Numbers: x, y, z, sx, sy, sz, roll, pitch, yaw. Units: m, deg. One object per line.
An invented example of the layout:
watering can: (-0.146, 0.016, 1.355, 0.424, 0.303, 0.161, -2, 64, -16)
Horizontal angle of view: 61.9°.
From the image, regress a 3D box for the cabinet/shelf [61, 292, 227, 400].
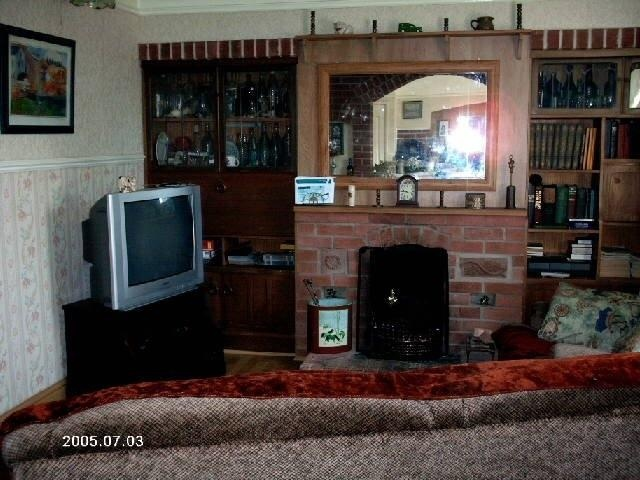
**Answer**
cabinet/shelf: (-1.268, 0.653, 3.654, 0.821, 0.456, 0.410, 2, 5, -4)

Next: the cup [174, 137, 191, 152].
cup: (-1.152, -0.807, 4.541, 0.128, 0.117, 0.127, 5, 3, 0)

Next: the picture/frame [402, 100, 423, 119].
picture/frame: (0.729, -1.007, 4.126, 0.173, 0.122, 0.017, 1, 5, 7)

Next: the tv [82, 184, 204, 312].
tv: (-1.322, 0.035, 3.781, 0.599, 0.725, 0.909, 3, 9, 21)

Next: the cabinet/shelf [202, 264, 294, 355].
cabinet/shelf: (-0.653, 0.647, 4.517, 0.949, 0.729, 0.301, 8, -25, -32)

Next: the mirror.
mirror: (0.738, -0.909, 4.112, 1.294, 0.728, 0.053, 1, 3, 6)

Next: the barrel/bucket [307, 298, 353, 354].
barrel/bucket: (0.034, 0.649, 3.929, 0.345, 0.307, 0.318, 1, -9, 0)

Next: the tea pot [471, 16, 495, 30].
tea pot: (1.197, -1.589, 3.947, 0.120, 0.111, 0.184, -24, 29, -39)

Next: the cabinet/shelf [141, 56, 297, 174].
cabinet/shelf: (-0.716, -0.997, 4.613, 1.568, 1.070, 0.499, 6, 11, 27)

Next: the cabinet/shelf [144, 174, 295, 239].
cabinet/shelf: (-0.758, -0.265, 4.683, 1.369, 0.521, 0.372, 1, 0, 22)

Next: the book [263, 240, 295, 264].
book: (-0.334, 0.102, 4.416, 0.237, 0.112, 0.214, 0, 4, 5)

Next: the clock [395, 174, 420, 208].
clock: (0.670, -0.371, 4.069, 0.183, 0.239, 0.118, -5, 12, 2)
